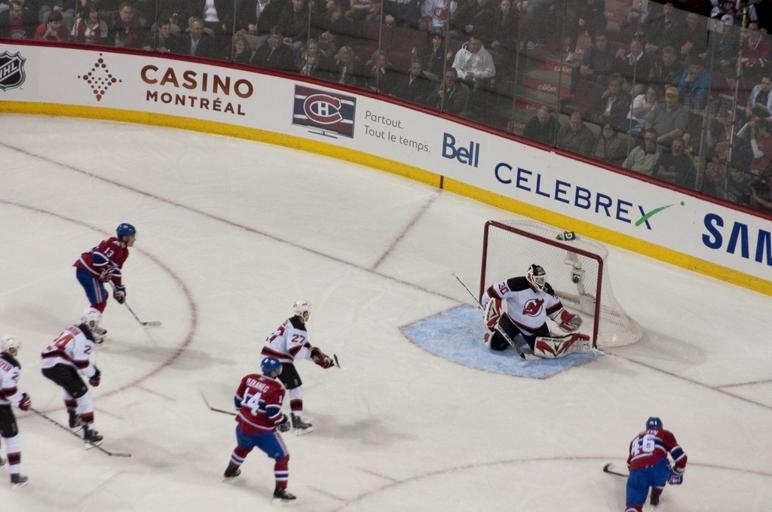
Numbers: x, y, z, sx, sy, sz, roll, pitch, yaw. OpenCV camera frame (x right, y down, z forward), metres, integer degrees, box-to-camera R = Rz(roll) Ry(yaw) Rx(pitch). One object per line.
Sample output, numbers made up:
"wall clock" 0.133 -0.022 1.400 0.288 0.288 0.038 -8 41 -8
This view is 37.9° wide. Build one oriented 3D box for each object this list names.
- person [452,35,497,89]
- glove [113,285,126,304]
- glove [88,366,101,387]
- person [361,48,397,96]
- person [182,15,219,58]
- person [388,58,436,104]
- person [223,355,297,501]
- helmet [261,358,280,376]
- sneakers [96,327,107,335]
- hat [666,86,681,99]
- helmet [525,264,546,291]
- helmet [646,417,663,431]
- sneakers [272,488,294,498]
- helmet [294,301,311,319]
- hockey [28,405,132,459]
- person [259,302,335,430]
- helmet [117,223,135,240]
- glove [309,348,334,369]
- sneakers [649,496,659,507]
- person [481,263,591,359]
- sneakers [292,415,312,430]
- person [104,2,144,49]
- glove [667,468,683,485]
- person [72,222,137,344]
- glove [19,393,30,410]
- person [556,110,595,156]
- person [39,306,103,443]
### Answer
"person" 1.405 -3.114 18.181 0.774 0.691 0.427 14 23 25
"glove" -3.519 0.507 14.910 0.179 0.215 0.117 5 13 3
"glove" -3.412 1.437 13.195 0.138 0.296 0.127 -2 31 -5
"person" -0.123 -3.095 19.039 0.539 0.713 0.254 12 19 34
"person" -3.319 -3.893 20.261 0.625 0.792 0.676 -8 56 -16
"person" 0.479 -2.921 18.754 0.728 0.662 0.177 21 16 25
"person" -1.404 2.018 12.745 1.009 1.558 0.570 24 37 22
"helmet" -1.275 1.237 12.596 0.205 0.178 0.169 -21 36 -30
"sneakers" -3.722 0.991 14.762 0.156 0.074 0.230 1 2 -3
"hat" 4.195 -2.403 16.586 0.160 0.186 0.190 9 -7 6
"helmet" 1.962 0.277 14.742 0.266 0.301 0.320 -8 25 -30
"helmet" 3.032 1.883 12.681 0.158 0.191 0.187 1 -27 5
"sneakers" -1.128 2.645 12.538 0.203 0.119 0.110 -1 15 -10
"helmet" -1.041 0.625 13.495 0.220 0.206 0.162 -14 29 -38
"hockey" -3.581 2.081 13.126 1.087 0.198 0.028 33 -13 21
"person" -1.076 1.395 13.647 1.089 1.563 0.852 -4 30 -10
"helmet" -3.401 -0.323 14.743 0.250 0.182 0.180 -10 23 -16
"glove" -0.774 1.244 13.668 0.324 0.187 0.125 25 -21 -7
"sneakers" 3.021 2.755 12.722 0.068 0.140 0.151 12 23 24
"person" 2.016 0.748 14.904 1.548 1.143 0.852 7 17 -3
"sneakers" -1.020 1.991 13.500 0.237 0.185 0.138 -3 -1 -13
"person" -4.660 -4.100 20.226 0.617 0.790 0.798 -2 23 -9
"glove" 3.231 2.477 12.620 0.163 0.196 0.205 12 2 9
"person" -3.706 0.428 14.933 0.780 1.718 0.633 22 32 -15
"glove" -4.024 1.622 12.611 0.138 0.164 0.152 -3 15 -17
"person" 2.946 -1.899 17.546 0.434 0.607 0.729 -25 35 -36
"person" -3.652 1.331 13.211 0.726 1.379 1.176 3 20 -17
